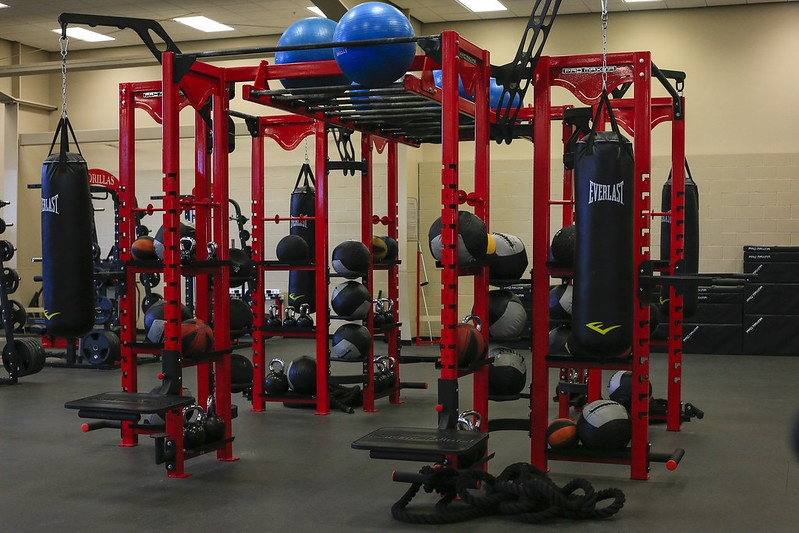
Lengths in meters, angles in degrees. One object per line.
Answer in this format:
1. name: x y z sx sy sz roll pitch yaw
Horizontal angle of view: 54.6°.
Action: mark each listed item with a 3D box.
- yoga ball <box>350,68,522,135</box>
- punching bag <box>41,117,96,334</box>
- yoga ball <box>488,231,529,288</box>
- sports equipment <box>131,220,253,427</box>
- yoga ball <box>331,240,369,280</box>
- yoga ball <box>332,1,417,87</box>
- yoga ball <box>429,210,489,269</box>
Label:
1. yoga ball: 0.348 -1.603 7.397 1.002 0.330 1.008 5 -8 1
2. punching bag: -2.875 -0.290 6.730 0.409 1.812 0.285 0 2 -22
3. yoga ball: 0.996 -0.067 7.231 0.438 0.467 0.542 -1 4 -8
4. sports equipment: -2.257 0.157 7.770 1.015 1.167 1.022 -7 3 6
5. yoga ball: -0.567 -0.073 9.111 0.447 0.429 0.420 -1 -5 0
6. yoga ball: -0.205 -1.948 6.914 0.712 0.782 0.692 -4 -5 0
7. yoga ball: 0.513 -0.241 6.692 0.505 0.482 0.613 1 2 4
